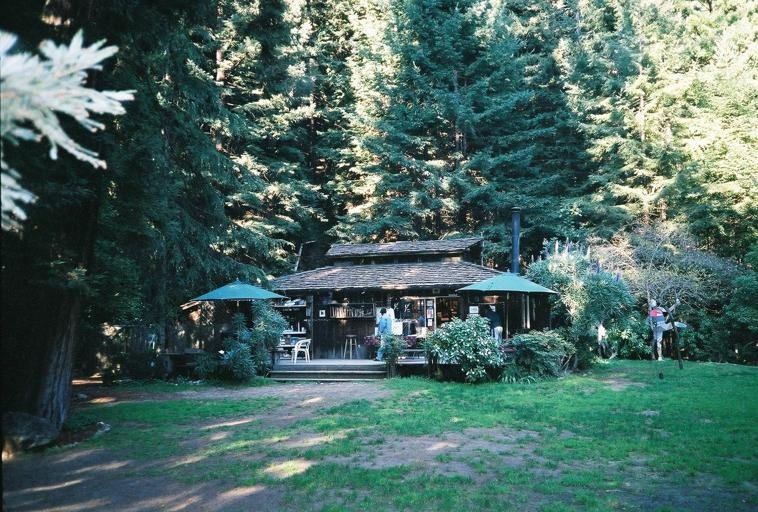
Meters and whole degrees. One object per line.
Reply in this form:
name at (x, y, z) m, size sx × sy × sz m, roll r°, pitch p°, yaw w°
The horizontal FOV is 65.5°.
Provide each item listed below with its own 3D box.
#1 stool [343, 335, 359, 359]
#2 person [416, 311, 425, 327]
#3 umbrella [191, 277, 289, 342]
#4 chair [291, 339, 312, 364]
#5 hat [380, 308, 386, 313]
stool at (-1.461, 4.558, 29.994) m, size 0.732 × 1.155 × 0.387 m, roll 0°, pitch 8°, yaw 7°
person at (2.093, 3.205, 29.556) m, size 0.372 × 0.607 × 0.880 m, roll -1°, pitch 7°, yaw 4°
umbrella at (-6.096, 2.280, 26.977) m, size 3.028 × 2.549 × 3.953 m, roll -2°, pitch 7°, yaw -4°
chair at (-3.809, 4.588, 29.150) m, size 1.077 × 1.451 × 1.373 m, roll 4°, pitch -12°, yaw -20°
hat at (0.187, 2.692, 29.407) m, size 0.267 × 0.258 × 0.197 m, roll 14°, pitch -11°, yaw -30°
